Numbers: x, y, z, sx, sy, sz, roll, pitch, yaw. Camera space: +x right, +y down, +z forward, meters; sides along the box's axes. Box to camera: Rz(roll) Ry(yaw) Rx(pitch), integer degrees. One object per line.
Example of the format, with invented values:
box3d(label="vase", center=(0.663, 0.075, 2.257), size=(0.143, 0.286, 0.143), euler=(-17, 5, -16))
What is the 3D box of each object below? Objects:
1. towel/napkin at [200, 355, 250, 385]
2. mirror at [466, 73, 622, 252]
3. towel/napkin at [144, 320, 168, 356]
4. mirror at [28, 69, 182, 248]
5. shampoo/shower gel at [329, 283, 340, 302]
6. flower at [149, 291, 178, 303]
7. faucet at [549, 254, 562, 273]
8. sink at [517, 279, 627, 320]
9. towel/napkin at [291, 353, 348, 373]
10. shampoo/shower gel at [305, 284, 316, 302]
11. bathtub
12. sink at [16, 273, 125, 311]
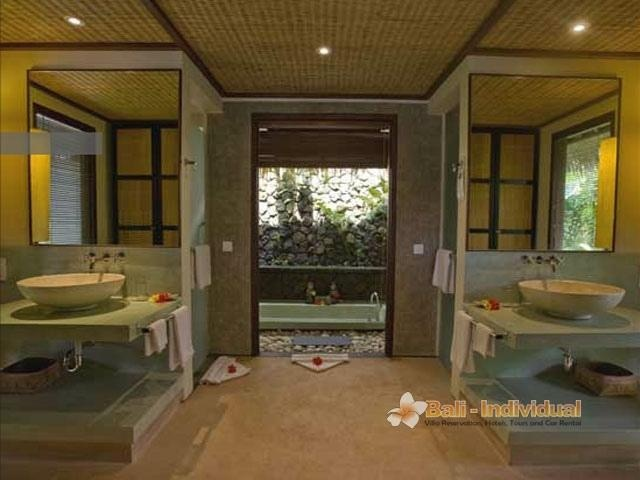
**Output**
box3d(label="towel/napkin", center=(-0.832, 1.197, 4.447), size=(0.384, 0.114, 0.542), euler=(-1, 1, 8))
box3d(label="mirror", center=(1.651, -0.451, 3.742), size=(1.076, 1.328, 0.030), euler=(1, -11, 21))
box3d(label="towel/napkin", center=(-1.154, 0.685, 3.466), size=(0.097, 0.215, 0.290), euler=(-1, 1, 6))
box3d(label="mirror", center=(-1.690, -0.643, 3.669), size=(1.398, 1.674, 0.060), euler=(0, 3, -1))
box3d(label="shampoo/shower gel", center=(0.209, 0.755, 6.859), size=(0.145, 0.261, 0.300), euler=(-1, 1, 2))
box3d(label="flower", center=(-1.212, 0.452, 3.751), size=(0.209, 0.066, 0.119), euler=(-1, 1, -21))
box3d(label="faucet", center=(1.818, 0.181, 3.723), size=(0.100, 0.056, 0.136), euler=(1, -13, 22))
box3d(label="sink", center=(1.814, 0.438, 3.507), size=(0.662, 0.246, 0.544), euler=(0, 1, 22))
box3d(label="towel/napkin", center=(0.012, 1.179, 4.622), size=(0.567, 0.088, 0.358), euler=(-1, 1, -5))
box3d(label="shampoo/shower gel", center=(-0.115, 0.757, 6.883), size=(0.155, 0.258, 0.302), euler=(-1, 1, -1))
box3d(label="bathtub", center=(0.045, 0.996, 6.345), size=(1.683, 0.236, 0.929), euler=(-1, 1, -3))
box3d(label="sink", center=(-1.786, 0.377, 3.481), size=(0.699, 0.234, 0.536), euler=(-1, 1, -23))
